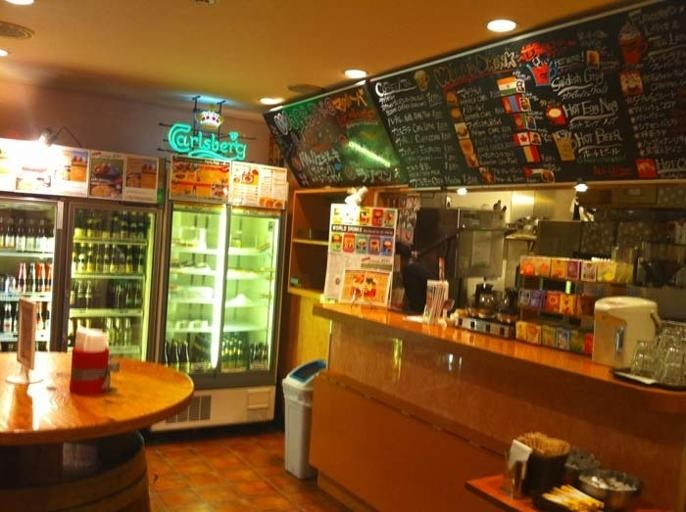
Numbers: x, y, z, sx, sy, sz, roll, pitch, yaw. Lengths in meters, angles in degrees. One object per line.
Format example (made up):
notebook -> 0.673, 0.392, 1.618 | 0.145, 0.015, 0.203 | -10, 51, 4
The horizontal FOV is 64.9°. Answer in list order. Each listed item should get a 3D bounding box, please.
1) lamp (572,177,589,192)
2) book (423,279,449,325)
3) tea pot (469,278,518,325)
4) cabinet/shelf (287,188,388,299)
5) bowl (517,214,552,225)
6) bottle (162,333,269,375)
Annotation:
lamp -> 1.629, -0.487, 3.675 | 0.087, 0.093, 0.158 | -3, 0, 13
book -> 0.742, 0.364, 4.282 | 0.195, 0.344, 0.192 | -3, 0, 8
tea pot -> 1.161, 0.358, 4.005 | 0.217, 0.288, 0.401 | -2, 5, -39
cabinet/shelf -> 0.065, -0.081, 5.015 | 1.045, 1.028, 0.400 | 7, 17, 32
bowl -> 1.532, -0.289, 4.325 | 0.291, 0.073, 0.022 | -3, 0, 43
bottle -> -1.371, 1.094, 5.768 | 1.150, 0.373, 0.434 | 1, 0, -4
